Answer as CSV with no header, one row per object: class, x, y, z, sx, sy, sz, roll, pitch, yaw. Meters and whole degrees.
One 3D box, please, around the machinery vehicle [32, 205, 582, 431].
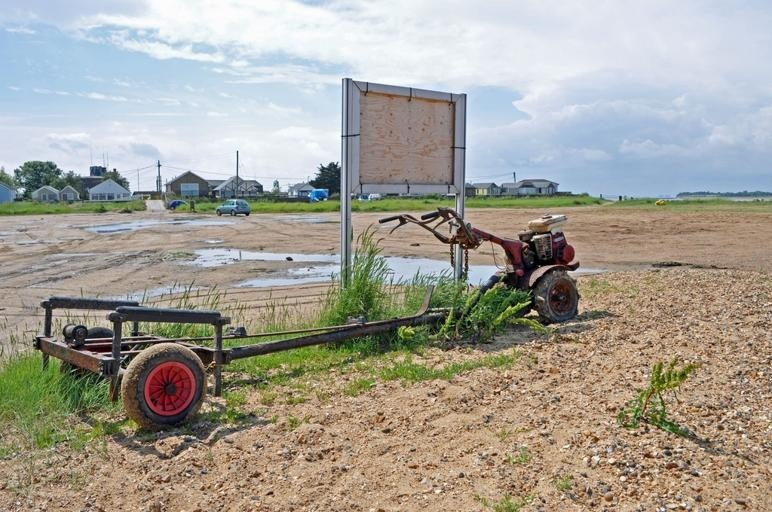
machinery vehicle,-0.273,0.907,9.978,8.299,2.527,3.189,-4,7,-35
